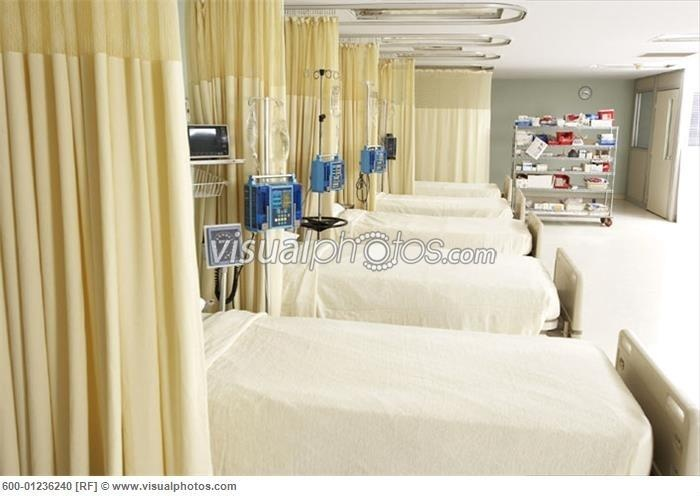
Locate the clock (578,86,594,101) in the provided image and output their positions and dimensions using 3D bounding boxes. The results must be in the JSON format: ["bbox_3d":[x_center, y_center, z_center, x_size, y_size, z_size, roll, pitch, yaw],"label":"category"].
[{"bbox_3d":[4.532,-2.996,10.534,0.242,0.256,0.248,15,28,41],"label":"clock"}]

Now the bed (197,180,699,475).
[{"bbox_3d":[0.294,0.568,2.372,1.443,0.400,1.611,0,20,2],"label":"bed"}]

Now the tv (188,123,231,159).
[{"bbox_3d":[-0.841,-0.655,3.323,0.269,0.196,0.149,1,12,10],"label":"tv"}]

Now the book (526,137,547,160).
[{"bbox_3d":[3.021,-1.581,8.810,0.276,0.371,0.102,46,16,23],"label":"book"}]
